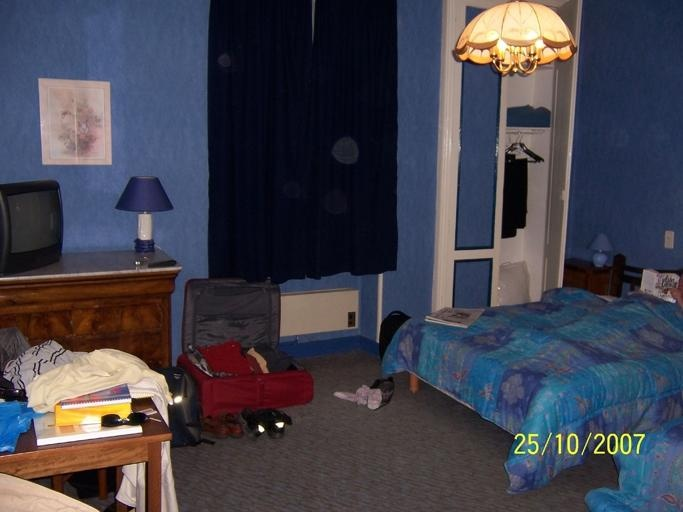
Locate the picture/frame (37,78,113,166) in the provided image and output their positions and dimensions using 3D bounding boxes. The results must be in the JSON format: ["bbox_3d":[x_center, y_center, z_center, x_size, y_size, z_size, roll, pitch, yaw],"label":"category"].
[{"bbox_3d":[-1.976,-0.999,3.937,0.586,0.799,0.032,-3,8,-26],"label":"picture/frame"}]

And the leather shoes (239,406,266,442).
[{"bbox_3d":[-0.606,1.147,3.720,0.088,0.122,0.277,-2,18,-21],"label":"leather shoes"}]

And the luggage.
[{"bbox_3d":[-0.761,0.636,4.255,0.957,1.032,0.934,-1,4,-24],"label":"luggage"}]

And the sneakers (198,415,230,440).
[{"bbox_3d":[-0.877,1.165,3.688,0.083,0.106,0.255,0,-1,-35],"label":"sneakers"}]

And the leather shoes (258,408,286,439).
[{"bbox_3d":[-0.480,1.152,3.733,0.125,0.065,0.161,4,26,-9],"label":"leather shoes"}]

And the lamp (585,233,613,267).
[{"bbox_3d":[2.386,-0.054,4.956,0.191,0.302,0.189,-4,6,-25],"label":"lamp"}]

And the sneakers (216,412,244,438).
[{"bbox_3d":[-0.795,1.155,3.692,0.108,0.065,0.173,-2,9,-24],"label":"sneakers"}]

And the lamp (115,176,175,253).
[{"bbox_3d":[-1.423,-0.345,4.117,0.476,0.640,0.501,-2,10,-16],"label":"lamp"}]
